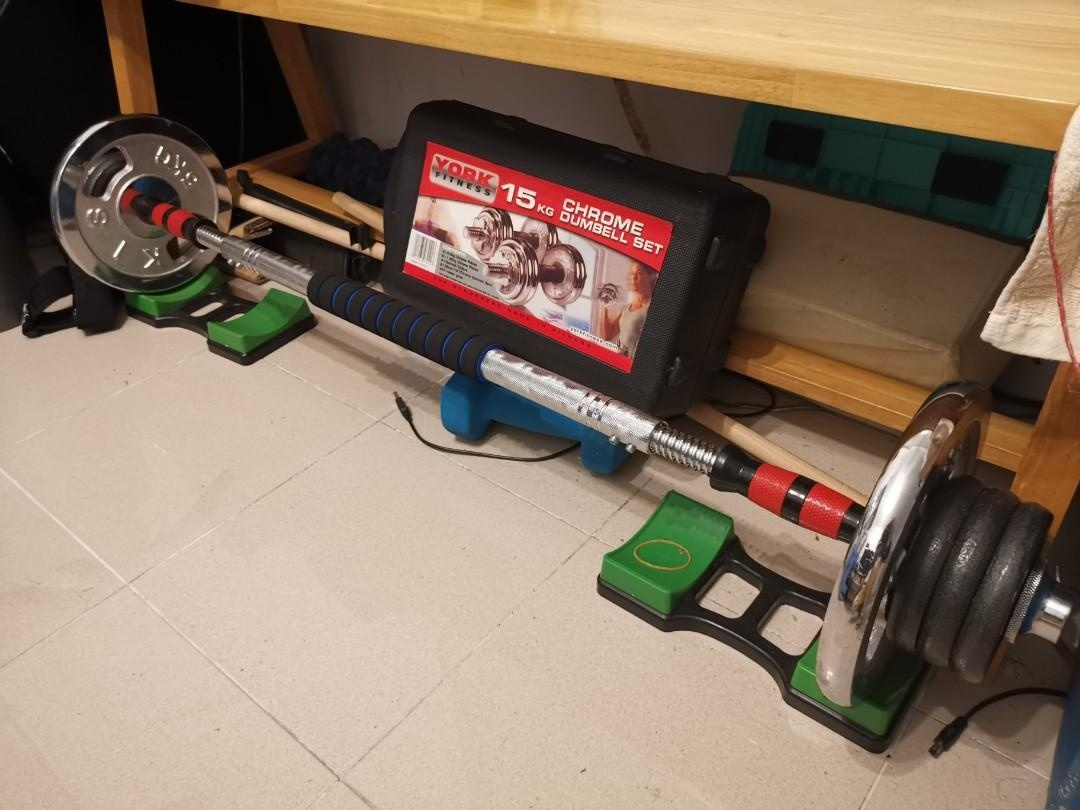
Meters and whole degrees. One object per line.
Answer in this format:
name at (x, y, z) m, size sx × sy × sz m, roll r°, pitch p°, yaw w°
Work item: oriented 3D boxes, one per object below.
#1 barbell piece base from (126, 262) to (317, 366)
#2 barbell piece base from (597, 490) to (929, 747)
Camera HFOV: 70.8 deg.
barbell piece base at (-0.729, -0.217, 1.719) m, size 0.353 × 0.076 × 0.205 m, roll 21°, pitch 41°, yaw 21°
barbell piece base at (0.302, 0.307, 1.138) m, size 0.440 × 0.087 × 0.240 m, roll 29°, pitch 53°, yaw 24°
